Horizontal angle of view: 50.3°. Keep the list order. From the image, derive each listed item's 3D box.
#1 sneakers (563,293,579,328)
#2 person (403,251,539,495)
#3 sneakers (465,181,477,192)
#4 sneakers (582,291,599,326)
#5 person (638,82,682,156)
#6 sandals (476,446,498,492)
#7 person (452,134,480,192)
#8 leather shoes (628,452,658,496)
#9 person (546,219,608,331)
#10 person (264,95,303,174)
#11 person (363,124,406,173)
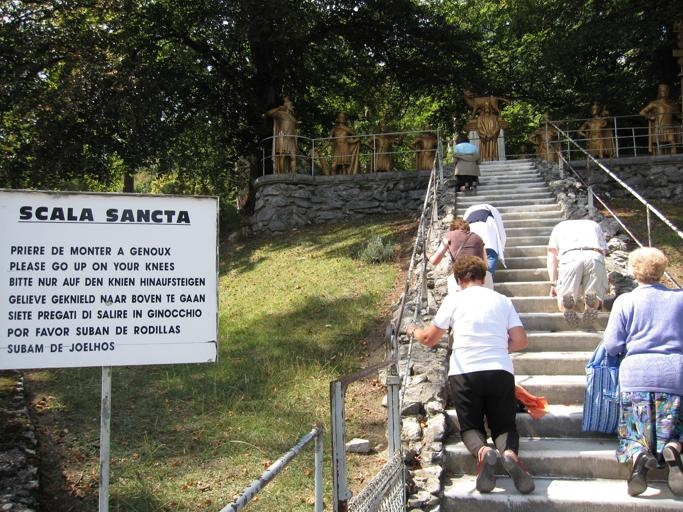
[{"bbox_3d":[3.244,0.791,10.316,0.243,0.477,0.184,-5,3,-6],"label":"sneakers"},{"bbox_3d":[1.587,1.380,8.292,1.037,2.660,0.635,-3,3,18],"label":"person"},{"bbox_3d":[2.959,-1.529,16.419,0.180,0.232,0.477,-3,4,37],"label":"sneakers"},{"bbox_3d":[3.523,0.768,10.302,0.205,0.472,0.162,-3,3,25],"label":"sneakers"},{"bbox_3d":[9.797,-4.146,22.350,1.008,2.122,1.207,-3,3,36],"label":"person"},{"bbox_3d":[1.613,2.402,8.076,0.184,0.547,0.219,1,17,6],"label":"sandals"},{"bbox_3d":[2.841,-1.995,16.505,0.556,1.128,0.536,-4,3,8],"label":"person"},{"bbox_3d":[3.264,2.405,7.968,0.185,0.597,0.272,9,1,11],"label":"leather shoes"},{"bbox_3d":[3.376,0.336,10.418,0.817,1.224,2.115,2,30,18],"label":"person"},{"bbox_3d":[-1.862,-3.826,23.392,0.840,1.790,0.732,-5,3,-7],"label":"person"},{"bbox_3d":[1.309,-3.451,23.560,1.015,1.653,1.578,-4,3,2],"label":"person"}]
